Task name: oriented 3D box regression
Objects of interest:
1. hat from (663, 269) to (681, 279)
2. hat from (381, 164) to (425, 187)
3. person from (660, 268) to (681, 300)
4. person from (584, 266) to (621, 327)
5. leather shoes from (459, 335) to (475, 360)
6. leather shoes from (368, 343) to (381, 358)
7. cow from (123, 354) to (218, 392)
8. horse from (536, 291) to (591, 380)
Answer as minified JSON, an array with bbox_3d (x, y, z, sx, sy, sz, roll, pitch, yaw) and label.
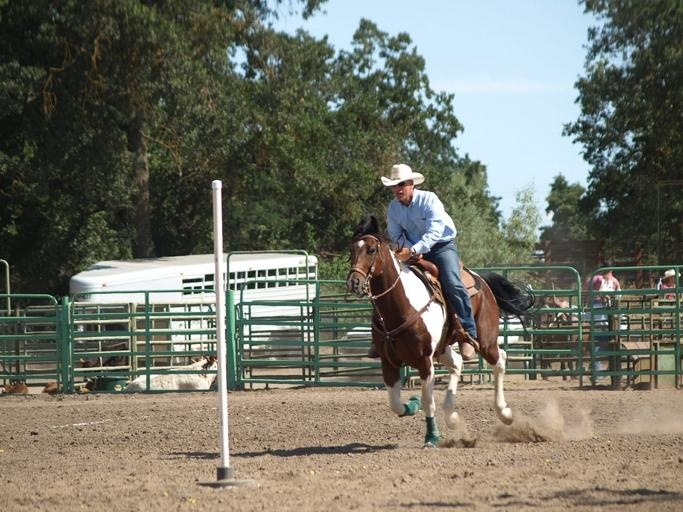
[{"bbox_3d":[8.548,0.449,29.316,0.472,0.157,0.530,-1,-7,2],"label":"hat"},{"bbox_3d":[1.336,-1.808,24.076,0.545,0.333,0.709,-10,-12,20],"label":"hat"},{"bbox_3d":[8.439,0.726,29.018,0.483,0.899,0.520,6,-13,-9],"label":"person"},{"bbox_3d":[6.787,1.039,29.235,0.680,1.598,2.791,-3,-8,14],"label":"person"},{"bbox_3d":[2.655,1.926,23.882,0.180,0.624,0.244,0,31,19],"label":"leather shoes"},{"bbox_3d":[0.693,2.015,24.070,0.199,0.304,0.287,0,-5,-6],"label":"leather shoes"},{"bbox_3d":[-4.390,3.084,29.673,2.170,0.891,0.916,-1,-7,-5],"label":"cow"},{"bbox_3d":[5.671,2.053,28.874,1.237,2.616,1.685,1,-43,4],"label":"horse"}]
